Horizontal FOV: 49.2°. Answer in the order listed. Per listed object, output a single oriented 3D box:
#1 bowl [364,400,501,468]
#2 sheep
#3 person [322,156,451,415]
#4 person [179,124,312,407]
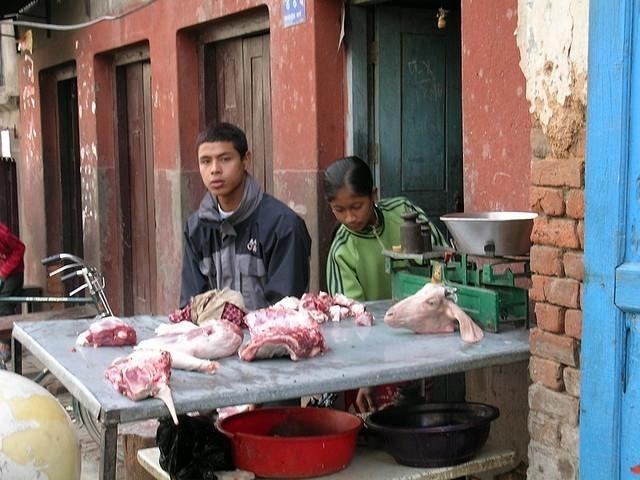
[{"bbox_3d":[0.598,1.017,3.639,0.647,0.325,0.785,-4,-10,-11],"label":"bowl"},{"bbox_3d":[0.589,0.373,3.802,0.512,0.356,0.387,-7,11,-40],"label":"sheep"},{"bbox_3d":[0.471,0.465,5.095,0.742,2.107,0.461,-7,7,5],"label":"person"},{"bbox_3d":[-0.599,-0.016,5.040,0.892,1.605,0.820,0,9,23],"label":"person"}]
